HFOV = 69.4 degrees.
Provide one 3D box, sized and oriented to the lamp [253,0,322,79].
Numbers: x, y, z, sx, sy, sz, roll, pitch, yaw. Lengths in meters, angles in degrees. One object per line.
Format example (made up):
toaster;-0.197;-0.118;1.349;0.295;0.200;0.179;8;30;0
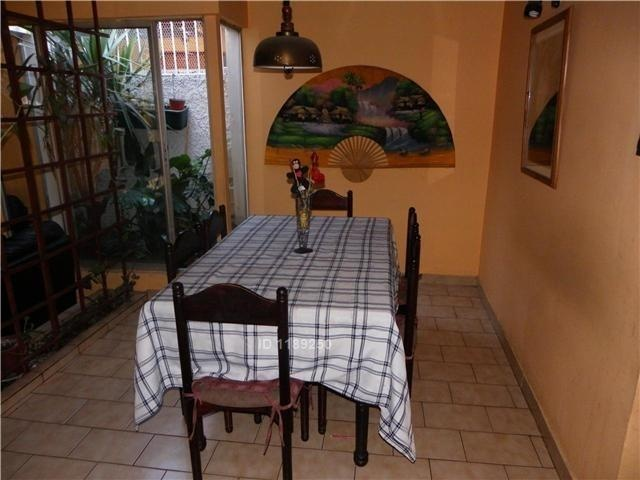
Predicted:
lamp;-0.252;-1.346;3.095;0.386;0.481;1.167;-2;18;-7

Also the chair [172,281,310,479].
chair;-0.414;0.722;2.417;0.683;1.152;0.742;3;35;3

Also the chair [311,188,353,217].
chair;0.113;-0.344;4.104;0.349;0.238;0.318;3;18;8

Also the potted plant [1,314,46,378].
potted plant;-2.141;0.774;3.315;0.294;0.255;0.327;2;5;-8
